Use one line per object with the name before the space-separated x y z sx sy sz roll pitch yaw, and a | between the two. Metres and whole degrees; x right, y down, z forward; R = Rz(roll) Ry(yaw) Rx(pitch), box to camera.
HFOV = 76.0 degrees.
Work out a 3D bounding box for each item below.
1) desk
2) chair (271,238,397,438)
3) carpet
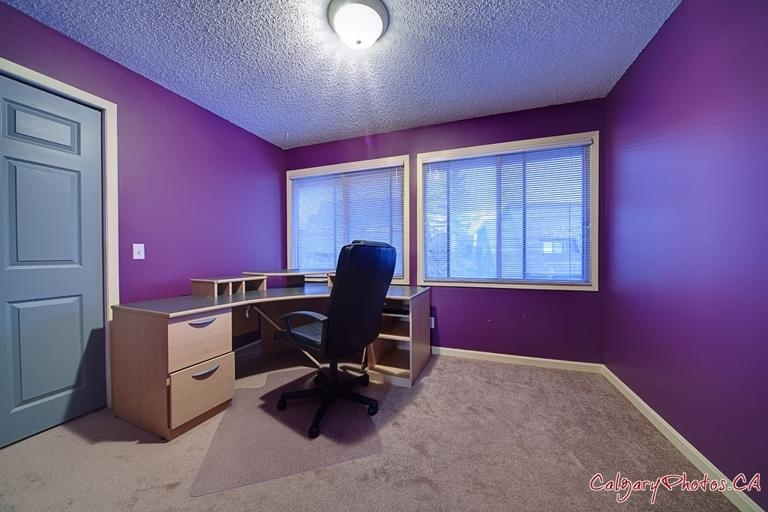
desk | -1.363 0.833 4.108 1.616 0.717 1.707 0 1 24
chair | -0.455 0.633 4.332 0.968 1.498 1.001 5 8 34
carpet | -0.810 1.457 4.092 1.382 0.483 0.966 -1 2 -11
